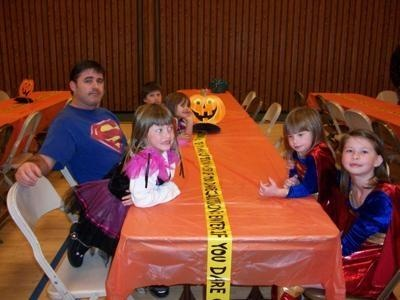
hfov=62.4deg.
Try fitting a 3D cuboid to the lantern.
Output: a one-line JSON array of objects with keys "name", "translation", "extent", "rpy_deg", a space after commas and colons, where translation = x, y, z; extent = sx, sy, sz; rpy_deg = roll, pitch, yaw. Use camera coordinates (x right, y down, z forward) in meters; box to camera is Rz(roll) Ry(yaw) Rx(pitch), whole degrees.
[{"name": "lantern", "translation": [0.088, -0.443, 3.352], "extent": [0.295, 0.326, 0.303], "rpy_deg": [-2, 11, -9]}]

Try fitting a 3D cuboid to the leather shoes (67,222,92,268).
[{"name": "leather shoes", "translation": [-0.642, 0.515, 1.824], "extent": [0.113, 0.305, 0.103], "rpy_deg": [-10, -8, 39]}]
